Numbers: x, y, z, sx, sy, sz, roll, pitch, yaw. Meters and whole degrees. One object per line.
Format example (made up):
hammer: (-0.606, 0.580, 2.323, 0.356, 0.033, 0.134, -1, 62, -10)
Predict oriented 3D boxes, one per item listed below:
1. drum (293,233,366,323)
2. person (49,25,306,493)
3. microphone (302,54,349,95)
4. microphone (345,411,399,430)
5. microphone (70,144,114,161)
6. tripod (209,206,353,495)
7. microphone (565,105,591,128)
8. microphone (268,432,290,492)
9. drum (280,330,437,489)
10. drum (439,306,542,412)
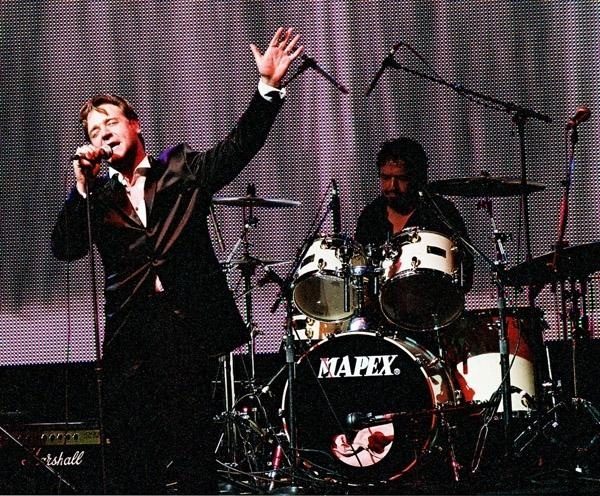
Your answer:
drum: (0.178, 0.129, 4.590, 0.387, 0.401, 0.371, 8, 36, 19)
person: (-0.564, 0.135, 4.227, 0.967, 1.951, 0.272, -3, -8, 26)
microphone: (0.133, -0.836, 4.476, 0.256, 0.038, 0.036, 40, -15, -1)
microphone: (0.320, 0.782, 4.282, 0.260, 0.083, 0.088, -2, 8, -7)
microphone: (-0.906, -0.404, 4.040, 0.216, 0.066, 0.069, -16, -9, 38)
tripod: (-0.217, 0.548, 4.949, 1.049, 1.438, 1.148, 2, -8, -9)
microphone: (1.308, -0.615, 4.333, 0.118, 0.118, 0.105, -1, -7, 6)
microphone: (-0.102, 0.992, 4.319, 0.051, 0.301, 0.049, 6, 4, 0)
drum: (0.288, 0.778, 4.313, 0.675, 0.683, 0.268, -2, -8, 25)
drum: (0.919, 0.585, 4.631, 0.493, 0.479, 0.465, -2, -22, 6)
